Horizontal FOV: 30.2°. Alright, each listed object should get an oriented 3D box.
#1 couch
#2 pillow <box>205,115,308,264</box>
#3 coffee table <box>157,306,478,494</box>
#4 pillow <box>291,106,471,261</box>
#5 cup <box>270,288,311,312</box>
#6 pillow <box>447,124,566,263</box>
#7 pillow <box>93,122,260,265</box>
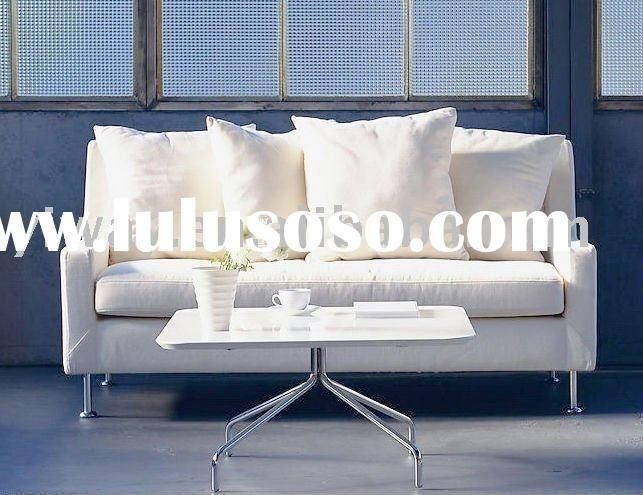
[{"bbox_3d":[0.086,0.076,6.141,2.687,1.313,1.242,0,3,0],"label":"couch"},{"bbox_3d":[-0.327,-0.257,5.919,0.623,0.745,0.279,-5,-10,-31],"label":"pillow"},{"bbox_3d":[-0.038,0.845,5.271,1.372,0.712,0.752,-1,5,-2],"label":"coffee table"},{"bbox_3d":[0.298,-0.305,6.095,0.828,0.776,0.309,-2,-1,-1],"label":"pillow"},{"bbox_3d":[-0.112,0.227,5.227,0.133,0.076,0.104,0,1,22],"label":"cup"},{"bbox_3d":[0.928,-0.240,6.018,0.590,0.612,0.232,5,-13,12],"label":"pillow"},{"bbox_3d":[-0.818,-0.258,6.184,0.273,0.712,0.724,-13,-9,43],"label":"pillow"}]
